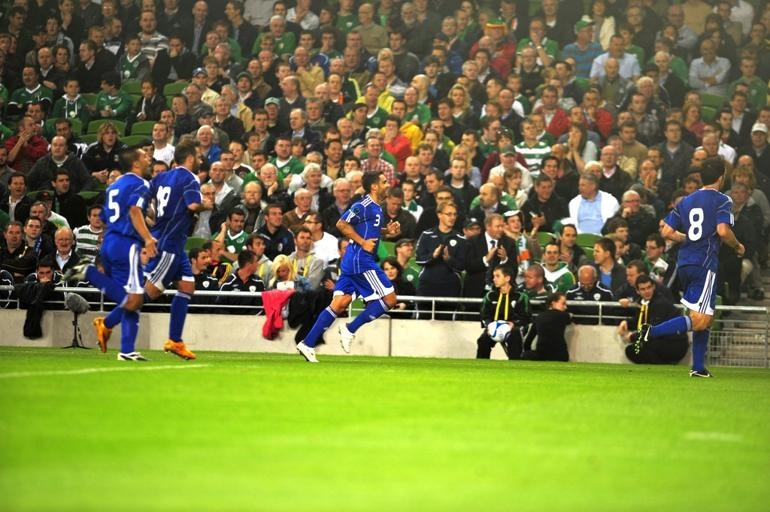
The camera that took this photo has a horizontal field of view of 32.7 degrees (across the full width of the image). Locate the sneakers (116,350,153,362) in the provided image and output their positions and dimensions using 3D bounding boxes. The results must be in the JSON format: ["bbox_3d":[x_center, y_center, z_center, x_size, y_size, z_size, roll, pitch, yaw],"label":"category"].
[{"bbox_3d":[-3.827,1.529,19.880,0.514,0.171,0.177,2,4,-11],"label":"sneakers"}]

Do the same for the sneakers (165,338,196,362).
[{"bbox_3d":[-3.301,1.512,20.951,0.567,0.279,0.198,26,15,-26],"label":"sneakers"}]

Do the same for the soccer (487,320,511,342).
[{"bbox_3d":[1.972,1.314,22.630,0.303,0.286,0.387,5,20,15],"label":"soccer"}]

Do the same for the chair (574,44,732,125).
[{"bbox_3d":[6.037,-3.822,28.177,2.702,1.902,1.010,1,-5,8],"label":"chair"}]

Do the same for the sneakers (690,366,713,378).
[{"bbox_3d":[5.054,1.863,20.721,0.394,0.151,0.129,0,5,-2],"label":"sneakers"}]

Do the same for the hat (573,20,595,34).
[{"bbox_3d":[4.428,-5.067,28.972,0.395,0.201,0.257,-6,5,29],"label":"hat"}]

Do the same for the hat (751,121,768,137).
[{"bbox_3d":[7.808,-2.651,27.158,0.335,0.289,0.486,1,-4,15],"label":"hat"}]

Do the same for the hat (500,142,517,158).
[{"bbox_3d":[2.481,-2.116,26.221,0.296,0.262,0.237,2,-4,-4],"label":"hat"}]

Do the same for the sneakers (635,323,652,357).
[{"bbox_3d":[4.306,1.437,21.754,0.296,0.599,0.209,8,35,12],"label":"sneakers"}]
